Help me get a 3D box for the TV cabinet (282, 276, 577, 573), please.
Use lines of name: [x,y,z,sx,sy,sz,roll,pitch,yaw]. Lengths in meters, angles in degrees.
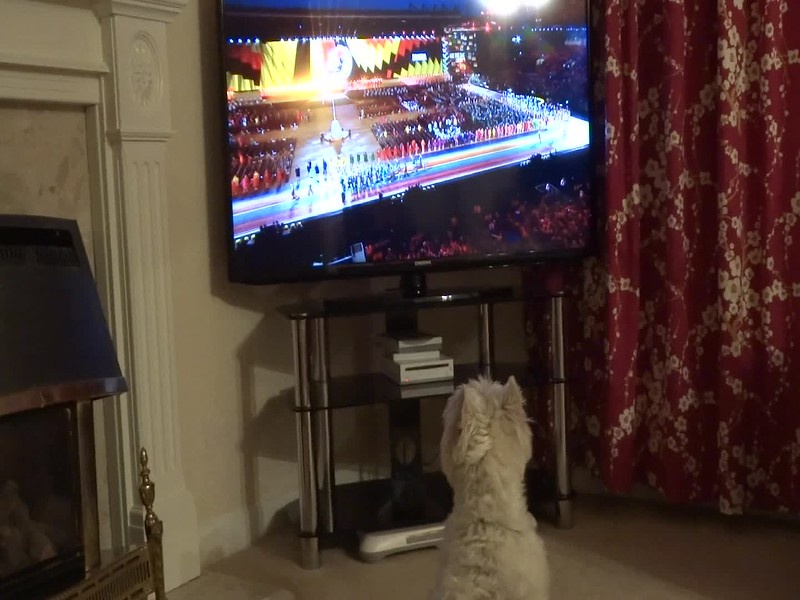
TV cabinet: [0.027,0.518,3.544,0.996,1.089,0.527,-5,5,-15]
